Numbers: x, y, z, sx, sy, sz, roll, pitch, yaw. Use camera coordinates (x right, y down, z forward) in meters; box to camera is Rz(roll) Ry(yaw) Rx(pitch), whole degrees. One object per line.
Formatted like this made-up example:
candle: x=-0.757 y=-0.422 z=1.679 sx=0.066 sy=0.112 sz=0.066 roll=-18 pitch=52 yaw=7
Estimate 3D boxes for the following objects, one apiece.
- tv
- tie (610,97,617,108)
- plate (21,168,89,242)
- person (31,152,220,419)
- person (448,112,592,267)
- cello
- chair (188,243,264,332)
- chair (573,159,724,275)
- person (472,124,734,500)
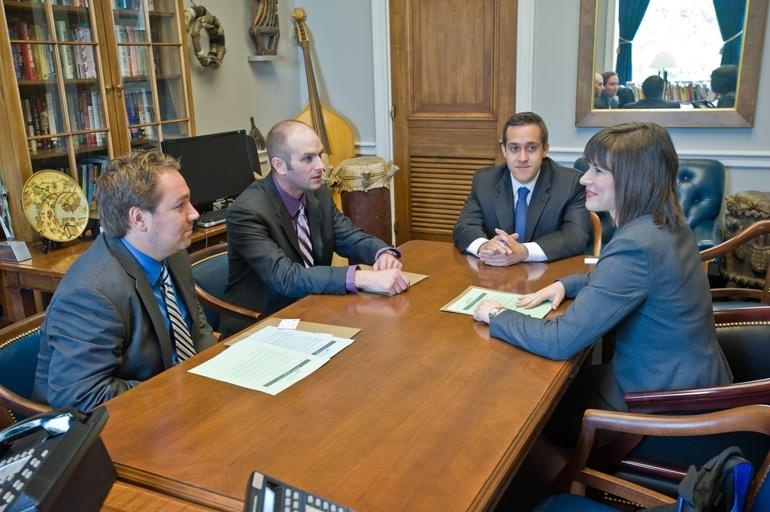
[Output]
tv: x=-1.333 y=-0.626 z=3.963 sx=0.196 sy=0.614 sz=0.818 roll=12 pitch=23 yaw=26
tie: x=1.901 y=-1.276 z=4.303 sx=0.049 sy=0.074 sz=0.019 roll=0 pitch=1 yaw=29
plate: x=-2.093 y=-0.324 z=3.300 sx=0.111 sy=0.402 sz=0.393 roll=-3 pitch=42 yaw=38
person: x=-1.121 y=0.122 z=2.170 sx=0.616 sy=0.984 sz=0.946 roll=4 pitch=18 yaw=0
person: x=0.787 y=-0.316 z=3.036 sx=0.736 sy=1.007 sz=1.016 roll=4 pitch=12 yaw=26
cello: x=-0.568 y=-1.350 z=5.261 sx=0.703 sy=1.940 sz=0.386 roll=-8 pitch=8 yaw=-2
chair: x=-0.805 y=0.175 z=2.646 sx=0.288 sy=0.432 sz=0.259 roll=17 pitch=30 yaw=38
chair: x=2.019 y=-0.446 z=4.129 sx=1.012 sy=1.293 sz=1.013 roll=0 pitch=6 yaw=23
person: x=0.955 y=0.308 z=2.251 sx=0.960 sy=1.620 sz=0.650 roll=3 pitch=20 yaw=35
